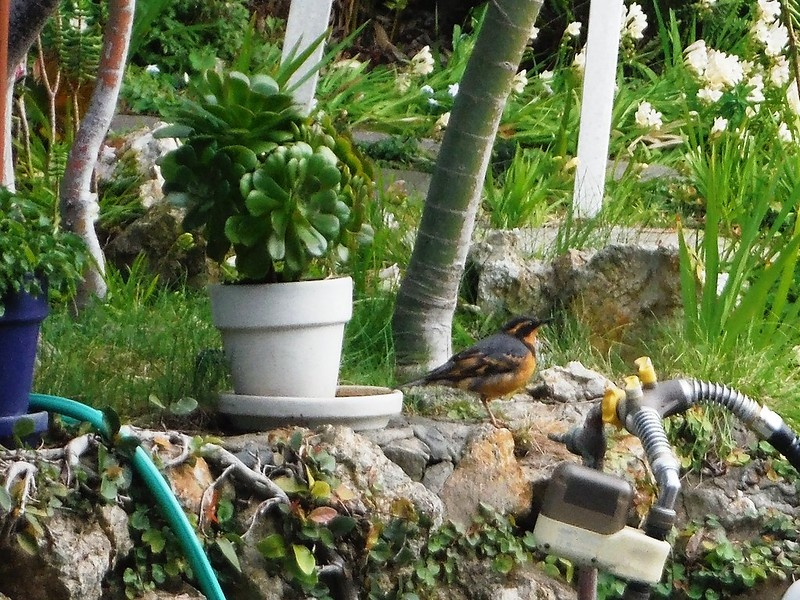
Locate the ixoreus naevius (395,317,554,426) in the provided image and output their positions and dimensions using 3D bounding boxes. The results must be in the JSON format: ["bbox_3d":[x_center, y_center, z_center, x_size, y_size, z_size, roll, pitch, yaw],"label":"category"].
[{"bbox_3d":[0.345,0.358,6.833,0.919,0.806,0.408,2,-3,-5],"label":"ixoreus naevius"}]
